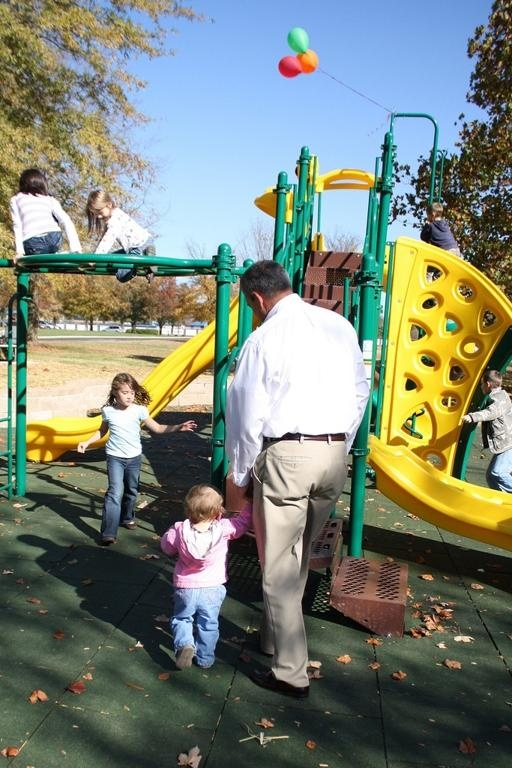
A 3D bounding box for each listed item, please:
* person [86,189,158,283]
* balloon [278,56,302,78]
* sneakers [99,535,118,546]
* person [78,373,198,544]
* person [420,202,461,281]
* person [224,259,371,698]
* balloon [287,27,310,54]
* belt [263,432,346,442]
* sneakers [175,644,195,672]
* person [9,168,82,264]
[{"bbox_3d":[-1.440,-1.552,5.889,0.684,0.842,0.614,-2,25,-2],"label":"person"},{"bbox_3d":[0.418,-3.784,6.853,0.262,0.238,0.146,3,1,-22],"label":"balloon"},{"bbox_3d":[-1.133,1.190,4.357,0.112,0.053,0.125,4,1,-15],"label":"sneakers"},{"bbox_3d":[-0.959,0.607,4.437,0.762,1.274,0.635,7,10,17],"label":"person"},{"bbox_3d":[2.632,-2.004,8.411,0.414,1.178,0.577,-18,42,-16],"label":"person"},{"bbox_3d":[0.137,0.410,2.416,0.575,1.457,0.349,4,2,-9],"label":"person"},{"bbox_3d":[0.492,-4.017,6.771,0.217,0.280,0.343,4,1,-2],"label":"balloon"},{"bbox_3d":[0.196,0.226,2.308,0.330,0.037,0.125,4,1,-1],"label":"belt"},{"bbox_3d":[-0.326,1.215,2.574,0.063,0.135,0.090,6,10,-13],"label":"sneakers"},{"bbox_3d":[-2.085,-1.690,5.616,0.576,0.904,0.567,3,2,-29],"label":"person"}]
